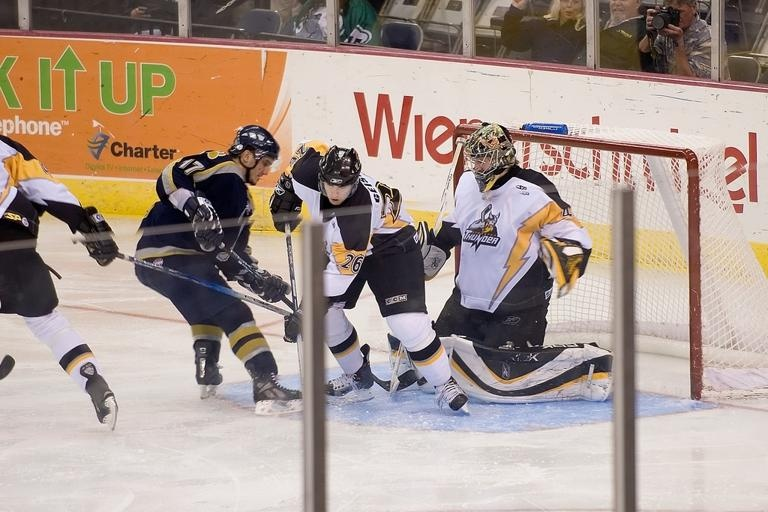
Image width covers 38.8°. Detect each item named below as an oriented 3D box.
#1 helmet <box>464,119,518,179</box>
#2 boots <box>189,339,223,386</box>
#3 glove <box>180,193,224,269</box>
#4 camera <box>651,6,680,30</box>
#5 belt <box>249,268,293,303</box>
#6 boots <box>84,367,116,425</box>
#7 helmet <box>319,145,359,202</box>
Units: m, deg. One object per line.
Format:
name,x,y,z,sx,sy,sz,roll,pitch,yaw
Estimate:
helmet,0.453,-0.449,4.675,0.210,0.210,0.254,-8,7,29
boots,-0.626,0.368,3.796,0.095,0.157,0.134,-1,9,-9
glove,-0.691,-0.137,4.229,0.113,0.167,0.286,-4,47,-35
camera,1.685,-1.413,6.548,0.138,0.121,0.134,3,25,30
belt,-0.418,0.110,3.923,0.158,0.088,0.046,5,49,50
boots,-0.990,0.485,3.744,0.067,0.180,0.083,-35,14,7
helmet,-0.187,-0.358,4.494,0.187,0.207,0.212,10,49,-4
